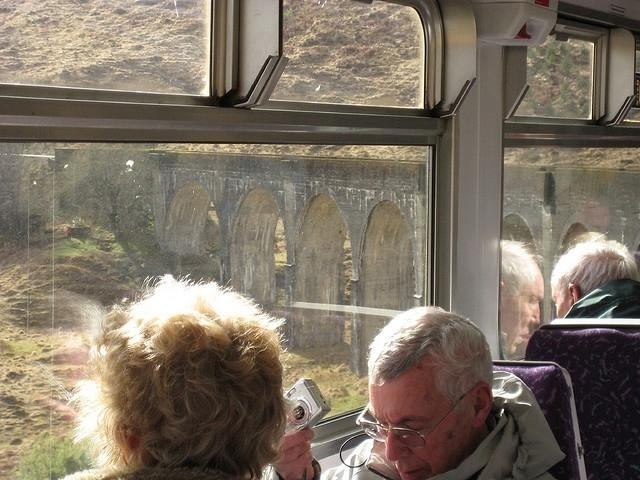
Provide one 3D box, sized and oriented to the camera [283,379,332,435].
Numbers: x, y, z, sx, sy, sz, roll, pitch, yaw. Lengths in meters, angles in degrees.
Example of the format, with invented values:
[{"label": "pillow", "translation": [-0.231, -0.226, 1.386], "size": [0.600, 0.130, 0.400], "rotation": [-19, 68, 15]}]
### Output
[{"label": "camera", "translation": [-0.046, 0.620, 2.637], "size": [0.158, 0.186, 0.132], "rotation": [1, -5, -3]}]
